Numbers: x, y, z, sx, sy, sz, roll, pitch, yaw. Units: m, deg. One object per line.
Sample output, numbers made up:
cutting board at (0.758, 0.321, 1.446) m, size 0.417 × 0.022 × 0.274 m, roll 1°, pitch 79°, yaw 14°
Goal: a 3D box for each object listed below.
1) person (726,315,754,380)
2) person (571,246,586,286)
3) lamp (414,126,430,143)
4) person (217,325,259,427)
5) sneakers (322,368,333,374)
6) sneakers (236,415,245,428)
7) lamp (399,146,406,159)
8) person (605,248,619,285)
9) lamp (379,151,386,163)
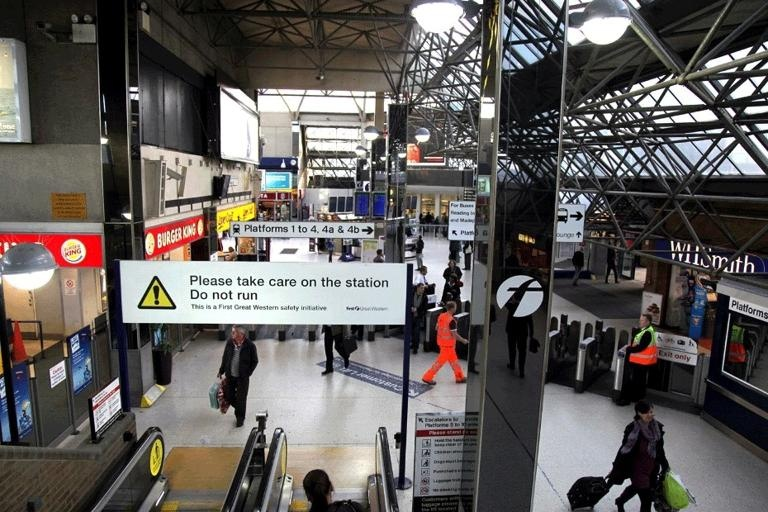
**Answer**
person at (7.934, 2.023, 12.623) m, size 0.295 × 1.107 × 0.815 m, roll 6°, pitch 5°, yaw -25°
person at (8.967, 0.491, 26.204) m, size 0.381 × 1.829 × 1.454 m, roll 2°, pitch 7°, yaw 16°
lamp at (1.910, -5.795, 27.055) m, size 0.482 × 0.619 × 1.188 m, roll 2°, pitch 8°, yaw 13°
person at (-3.165, 2.564, 12.418) m, size 0.796 × 2.168 × 0.621 m, roll -2°, pitch 7°, yaw -15°
sneakers at (-1.398, 2.931, 14.396) m, size 0.272 × 0.204 × 0.111 m, roll 5°, pitch -3°, yaw -23°
sneakers at (-3.096, 3.573, 12.295) m, size 0.192 × 0.236 × 0.169 m, roll -3°, pitch 8°, yaw -25°
lamp at (0.704, -3.711, 20.513) m, size 0.124 × 0.399 × 0.357 m, roll 6°, pitch 10°, yaw 44°
person at (11.012, 0.453, 27.366) m, size 0.584 × 1.672 × 1.493 m, roll 4°, pitch 8°, yaw 28°
lamp at (-0.027, -3.772, 21.722) m, size 0.281 × 0.343 × 0.106 m, roll 7°, pitch 10°, yaw 44°
